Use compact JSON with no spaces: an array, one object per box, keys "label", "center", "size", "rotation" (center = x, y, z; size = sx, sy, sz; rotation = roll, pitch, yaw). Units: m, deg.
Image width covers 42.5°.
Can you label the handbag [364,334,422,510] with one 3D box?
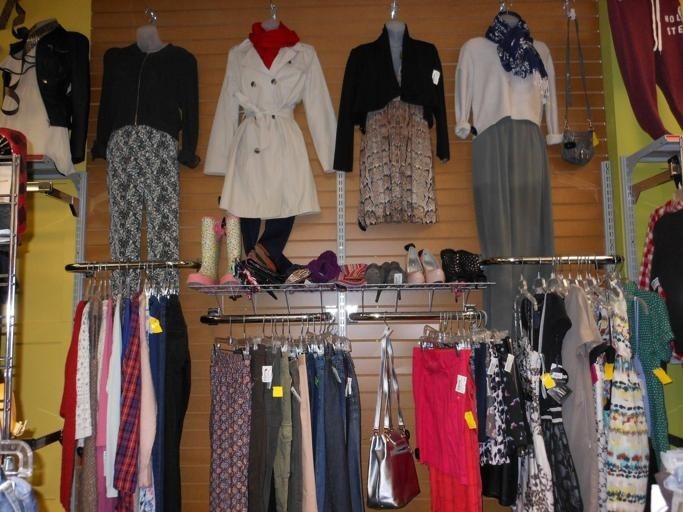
[{"label":"handbag","center":[0.328,1.053,5.710],"size":[0.358,1.135,0.170],"rotation":[3,-9,-26]}]

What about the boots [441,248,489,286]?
[{"label":"boots","center":[0.799,0.073,5.770],"size":[0.146,0.133,0.297],"rotation":[-3,23,-7]}]

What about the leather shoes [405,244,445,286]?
[{"label":"leather shoes","center":[0.534,0.072,5.829],"size":[0.152,0.132,0.318],"rotation":[-7,35,-7]}]

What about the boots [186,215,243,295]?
[{"label":"boots","center":[-0.853,0.000,5.938],"size":[0.374,0.621,0.447],"rotation":[-1,-9,8]}]

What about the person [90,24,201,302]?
[{"label":"person","center":[-1.370,-0.588,6.067],"size":[0.694,2.418,0.333],"rotation":[4,-34,-10]}]

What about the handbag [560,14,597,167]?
[{"label":"handbag","center":[1.683,-1.238,6.255],"size":[0.253,1.221,0.217],"rotation":[-3,-8,17]}]
